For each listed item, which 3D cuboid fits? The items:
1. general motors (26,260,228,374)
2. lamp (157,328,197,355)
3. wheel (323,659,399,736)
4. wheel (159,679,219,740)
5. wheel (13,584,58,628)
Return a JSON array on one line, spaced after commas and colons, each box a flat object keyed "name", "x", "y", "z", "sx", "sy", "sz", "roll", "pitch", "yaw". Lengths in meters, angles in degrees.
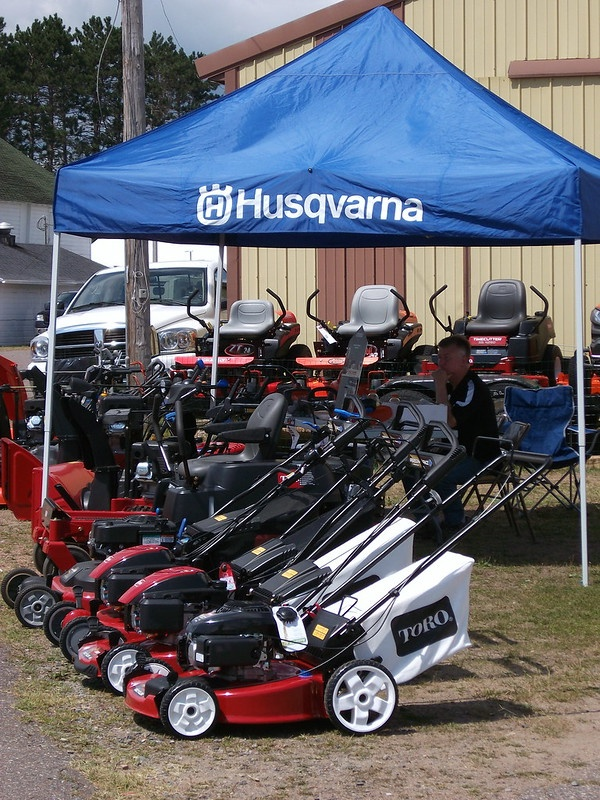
[{"name": "general motors", "x": -2.123, "y": -1.073, "z": 13.446, "sx": 1.467, "sy": 1.110, "sz": 2.435, "roll": 0, "pitch": 1, "yaw": 19}, {"name": "lamp", "x": -1.391, "y": -0.653, "z": 12.412, "sx": 0.366, "sy": 0.153, "sz": 0.285, "roll": 1, "pitch": 13, "yaw": 7}, {"name": "wheel", "x": 0.239, "y": 1.232, "z": 4.533, "sx": 0.328, "sy": 0.301, "sz": 0.090, "roll": 3, "pitch": -9, "yaw": -25}, {"name": "wheel", "x": -0.448, "y": 1.236, "z": 4.389, "sx": 0.266, "sy": 0.245, "sz": 0.107, "roll": -3, "pitch": 6, "yaw": -17}, {"name": "wheel", "x": -1.379, "y": 1.090, "z": 5.798, "sx": 0.216, "sy": 0.201, "sz": 0.079, "roll": 17, "pitch": 8, "yaw": -13}]
